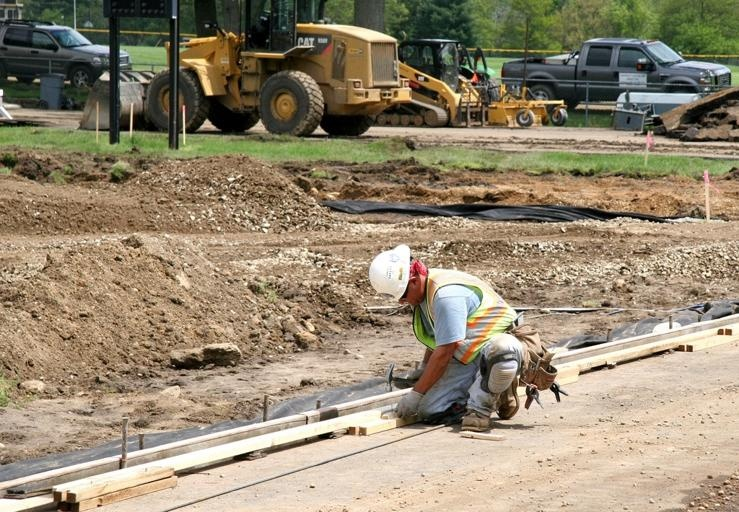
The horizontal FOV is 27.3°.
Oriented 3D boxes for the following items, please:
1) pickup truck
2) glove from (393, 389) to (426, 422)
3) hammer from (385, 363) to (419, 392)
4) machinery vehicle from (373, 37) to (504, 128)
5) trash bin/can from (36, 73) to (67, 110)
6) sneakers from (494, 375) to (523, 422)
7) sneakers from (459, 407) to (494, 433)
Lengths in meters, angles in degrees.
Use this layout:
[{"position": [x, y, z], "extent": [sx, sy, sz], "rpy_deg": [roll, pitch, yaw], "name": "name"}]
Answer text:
[{"position": [7.285, -5.379, 44.845], "extent": [6.395, 1.716, 2.632], "rpy_deg": [4, 13, 30], "name": "pickup truck"}, {"position": [0.531, 1.991, 20.024], "extent": [0.171, 0.422, 0.309], "rpy_deg": [40, 9, -31], "name": "glove"}, {"position": [0.457, 1.670, 20.622], "extent": [0.449, 0.169, 0.410], "rpy_deg": [0, 4, 6], "name": "hammer"}, {"position": [1.909, -4.766, 41.211], "extent": [2.580, 1.890, 3.609], "rpy_deg": [-13, 22, -41], "name": "machinery vehicle"}, {"position": [-9.051, -4.670, 43.066], "extent": [0.937, 0.943, 0.859], "rpy_deg": [6, 8, 20], "name": "trash bin/can"}, {"position": [1.850, 1.897, 19.996], "extent": [0.286, 0.564, 0.245], "rpy_deg": [-9, 30, -13], "name": "sneakers"}, {"position": [1.406, 2.174, 19.792], "extent": [0.426, 0.230, 0.235], "rpy_deg": [-6, 8, -24], "name": "sneakers"}]
